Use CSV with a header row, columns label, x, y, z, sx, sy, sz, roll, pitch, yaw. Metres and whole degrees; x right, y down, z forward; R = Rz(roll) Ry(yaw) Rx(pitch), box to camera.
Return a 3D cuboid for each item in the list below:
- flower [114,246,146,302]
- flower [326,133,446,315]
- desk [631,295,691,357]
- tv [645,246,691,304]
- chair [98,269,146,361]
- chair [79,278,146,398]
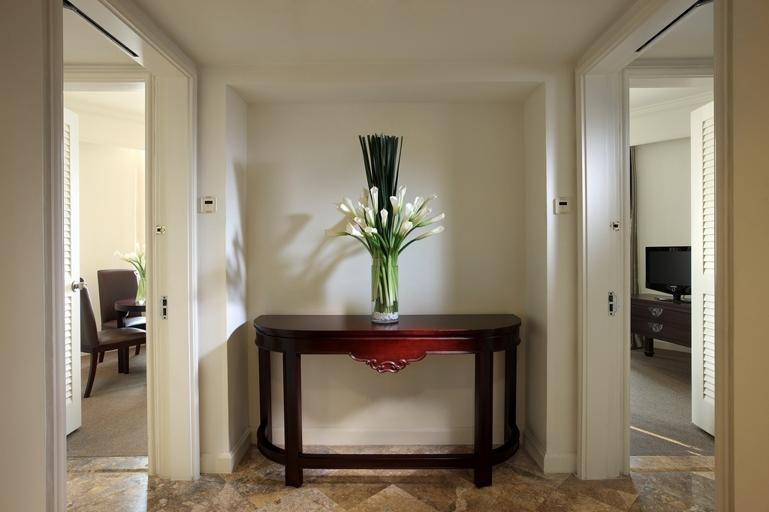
label,x,y,z,sx,sy,sz,roll,pitch,yaw
flower,-2.493,0.191,5.858,0.368,0.557,0.424,-6,6,-8
flower,-0.027,-0.186,4.384,1.128,1.640,1.131,0,1,-7
desk,2.777,0.624,5.625,0.247,0.409,0.803,-6,14,-23
tv,2.959,0.183,5.787,0.072,0.552,0.607,-3,2,-23
chair,-2.616,0.625,5.846,0.577,0.994,0.538,1,3,40
chair,-2.645,0.740,5.374,0.590,0.987,0.573,-6,5,-42
